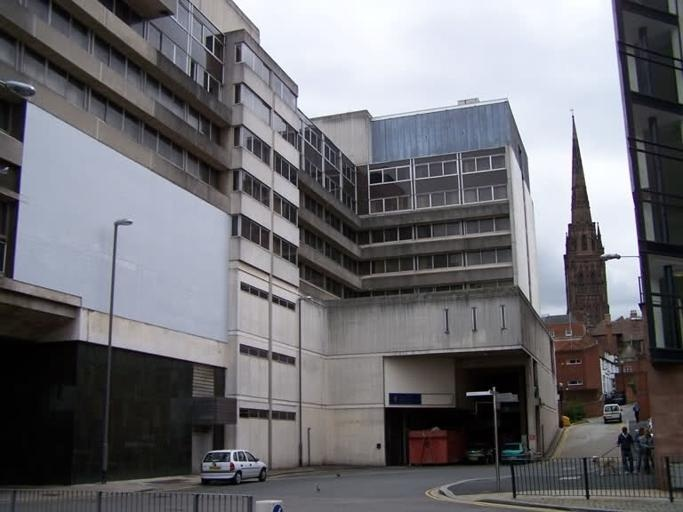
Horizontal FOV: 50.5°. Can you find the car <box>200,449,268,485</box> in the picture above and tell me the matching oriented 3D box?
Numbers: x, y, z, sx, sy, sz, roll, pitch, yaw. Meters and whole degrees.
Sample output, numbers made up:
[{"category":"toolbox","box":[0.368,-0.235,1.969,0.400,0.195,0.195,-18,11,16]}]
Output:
[{"category":"car","box":[-5.398,10.992,37.602,3.961,1.712,2.406,10,-23,-31]}]

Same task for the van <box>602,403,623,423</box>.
[{"category":"van","box":[28.549,16.441,76.281,1.667,1.758,2.942,-2,-4,16]}]

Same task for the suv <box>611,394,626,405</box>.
[{"category":"suv","box":[39.126,20.147,102.212,1.064,1.614,3.436,-17,-24,38]}]
